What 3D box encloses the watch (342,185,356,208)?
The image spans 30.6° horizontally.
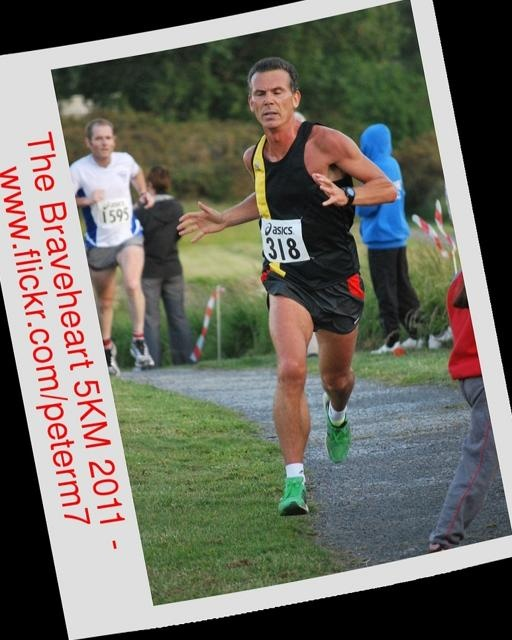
[{"bbox_3d":[0.510,-0.684,5.143,0.073,0.095,0.109,2,41,-20],"label":"watch"}]

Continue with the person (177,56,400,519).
[{"bbox_3d":[0.237,-0.215,5.422,0.976,2.569,0.941,-12,10,-27],"label":"person"}]

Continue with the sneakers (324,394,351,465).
[{"bbox_3d":[0.535,0.730,6.178,0.153,0.432,0.177,-4,10,-2],"label":"sneakers"}]

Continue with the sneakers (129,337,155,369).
[{"bbox_3d":[-0.883,0.259,7.192,0.110,0.142,0.317,-13,47,-14],"label":"sneakers"}]

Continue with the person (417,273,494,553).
[{"bbox_3d":[1.128,0.521,5.113,0.391,1.510,0.547,-1,11,33],"label":"person"}]

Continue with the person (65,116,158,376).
[{"bbox_3d":[-1.031,-0.563,7.149,0.554,1.916,0.416,-8,9,-5],"label":"person"}]

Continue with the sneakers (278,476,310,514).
[{"bbox_3d":[0.197,0.975,5.083,0.156,0.257,0.182,-7,9,0],"label":"sneakers"}]
